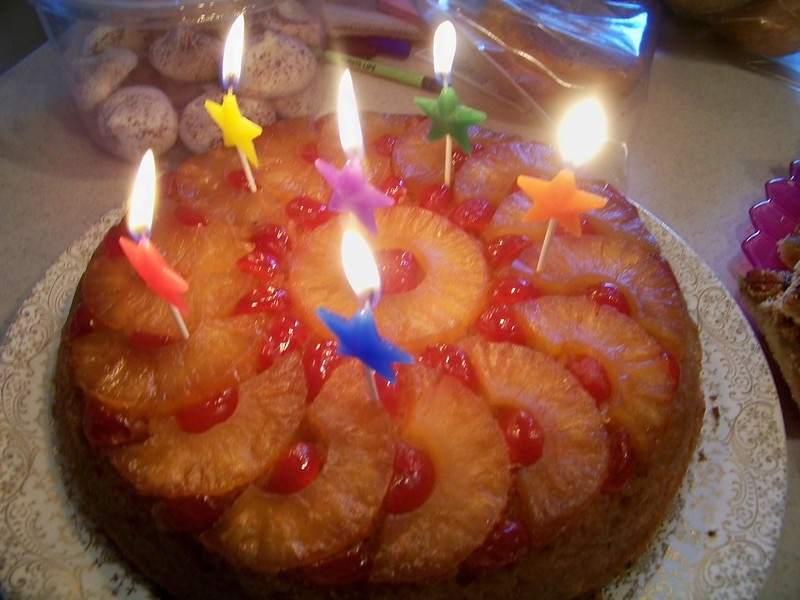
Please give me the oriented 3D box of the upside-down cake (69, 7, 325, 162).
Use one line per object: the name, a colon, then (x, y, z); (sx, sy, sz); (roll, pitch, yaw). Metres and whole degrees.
upside-down cake: (-0.886, -0.984, 3.249); (0.769, 0.289, 0.782); (-29, 53, -20)
